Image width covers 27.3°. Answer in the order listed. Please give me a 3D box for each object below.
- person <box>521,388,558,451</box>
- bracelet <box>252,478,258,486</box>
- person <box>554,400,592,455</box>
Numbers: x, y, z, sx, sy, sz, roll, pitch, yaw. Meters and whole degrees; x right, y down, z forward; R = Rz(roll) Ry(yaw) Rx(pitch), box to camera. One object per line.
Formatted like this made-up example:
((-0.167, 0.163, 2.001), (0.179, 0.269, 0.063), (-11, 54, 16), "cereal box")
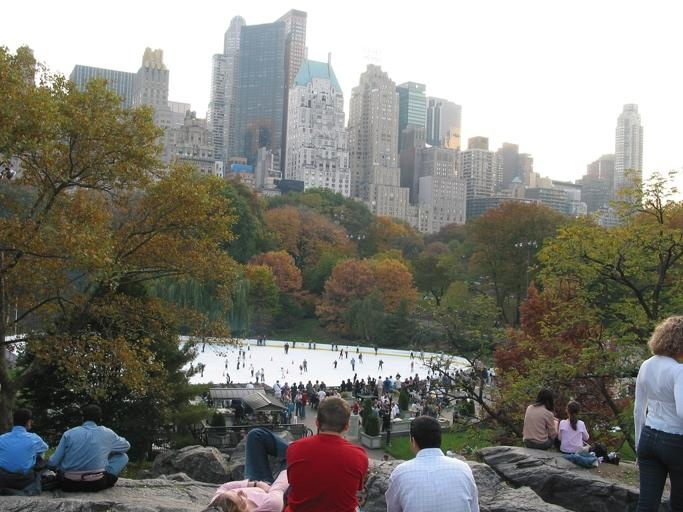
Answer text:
((7.896, 6.432, 55.648), (1.340, 2.406, 0.617), (1, -7, 8), "person")
((-3.160, 8.224, 51.230), (0.173, 0.061, 0.243), (1, 26, -6), "bracelet")
((9.148, 6.725, 55.401), (1.227, 2.095, 1.070), (1, -7, 10), "person")
